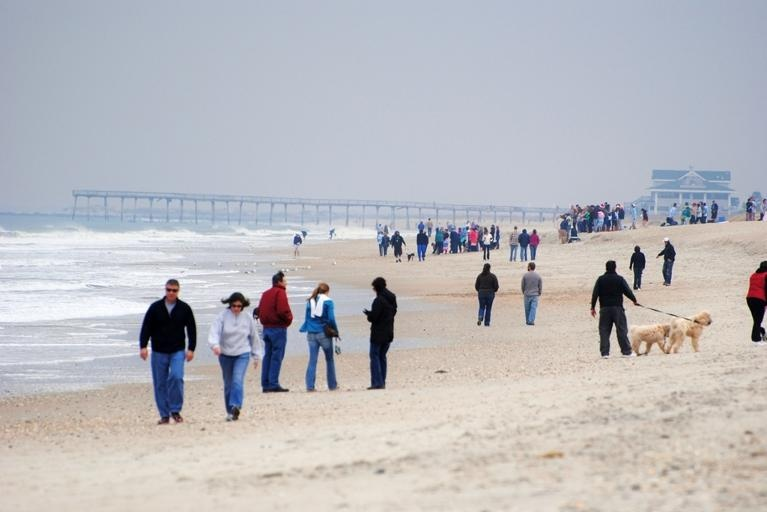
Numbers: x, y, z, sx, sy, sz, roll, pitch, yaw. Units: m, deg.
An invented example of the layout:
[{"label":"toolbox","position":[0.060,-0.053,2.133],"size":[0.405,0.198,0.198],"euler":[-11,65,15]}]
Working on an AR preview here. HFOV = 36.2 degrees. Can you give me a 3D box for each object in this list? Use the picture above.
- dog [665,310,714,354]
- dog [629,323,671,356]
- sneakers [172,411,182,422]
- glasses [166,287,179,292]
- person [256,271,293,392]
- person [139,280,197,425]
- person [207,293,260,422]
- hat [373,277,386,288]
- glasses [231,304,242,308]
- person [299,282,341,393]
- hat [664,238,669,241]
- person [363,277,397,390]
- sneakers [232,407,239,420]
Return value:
[{"label":"dog","position":[6.501,1.614,25.060],"size":[1.229,0.848,0.391],"euler":[-8,18,-30]},{"label":"dog","position":[5.718,1.798,25.169],"size":[1.080,0.634,0.328],"euler":[-3,3,-16]},{"label":"sneakers","position":[-3.928,3.068,22.345],"size":[0.119,0.061,0.196],"euler":[-5,46,-20]},{"label":"glasses","position":[-3.981,0.643,22.126],"size":[0.211,0.094,0.140],"euler":[-5,9,-15]},{"label":"person","position":[-2.302,1.557,24.730],"size":[0.738,2.535,1.547],"euler":[-4,9,-6]},{"label":"person","position":[-4.061,1.831,22.217],"size":[1.029,2.721,0.603],"euler":[-4,9,-7]},{"label":"person","position":[-2.815,1.920,22.380],"size":[0.999,2.409,0.666],"euler":[-6,9,-19]},{"label":"hat","position":[-0.089,0.559,24.527],"size":[0.189,0.212,0.231],"euler":[1,8,-3]},{"label":"glasses","position":[-2.778,0.934,22.222],"size":[0.196,0.083,0.055],"euler":[-2,9,3]},{"label":"person","position":[-1.324,1.684,24.353],"size":[0.740,2.260,0.595],"euler":[-3,9,-4]},{"label":"hat","position":[9.013,-0.527,37.367],"size":[0.194,0.098,0.134],"euler":[-11,6,-16]},{"label":"person","position":[-0.090,1.625,24.454],"size":[0.489,2.239,0.827],"euler":[4,11,38]},{"label":"sneakers","position":[-2.803,2.981,22.254],"size":[0.093,0.261,0.120],"euler":[1,4,-9]}]
